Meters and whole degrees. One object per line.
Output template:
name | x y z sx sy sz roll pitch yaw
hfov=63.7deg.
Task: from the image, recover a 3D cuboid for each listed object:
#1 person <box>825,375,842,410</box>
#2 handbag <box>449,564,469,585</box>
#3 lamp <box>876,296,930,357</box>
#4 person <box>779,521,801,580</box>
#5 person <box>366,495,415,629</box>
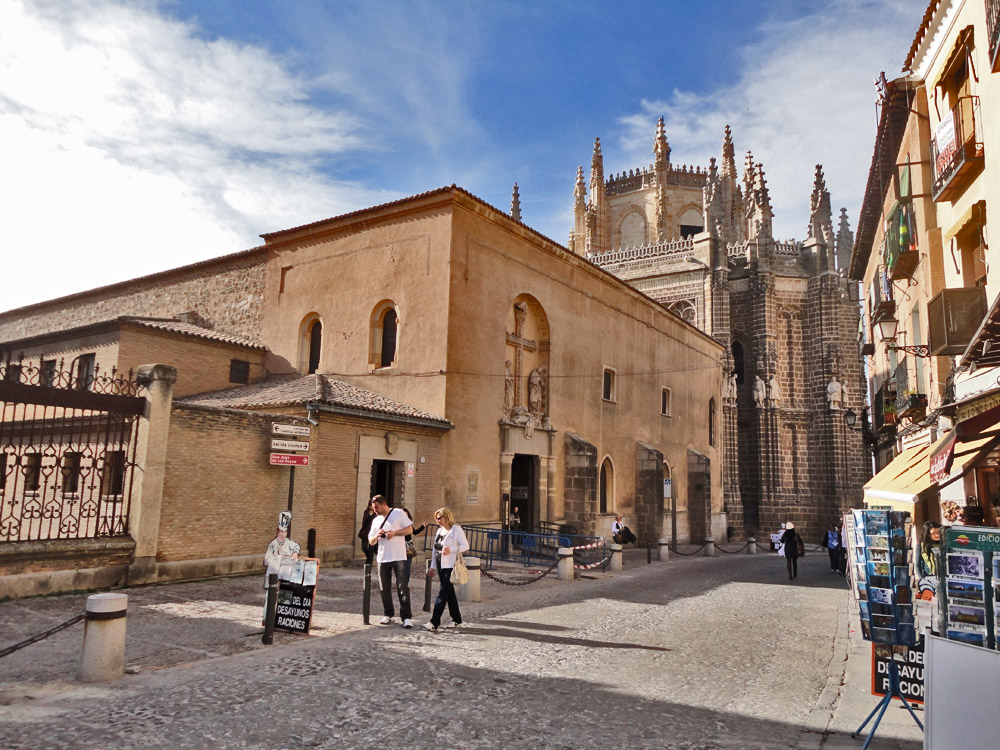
person | 19.090 1.067 45.907 0.894 1.965 0.434 -6 -12 22
handbag | -0.665 3.182 12.981 0.231 0.299 0.270 -3 -12 8
lamp | 10.483 -1.067 21.018 1.334 1.884 0.657 -8 -42 30
person | 8.104 4.878 22.358 0.478 1.519 1.609 -5 -12 18
person | -1.834 3.091 13.520 0.679 2.101 1.582 1 -12 -9
